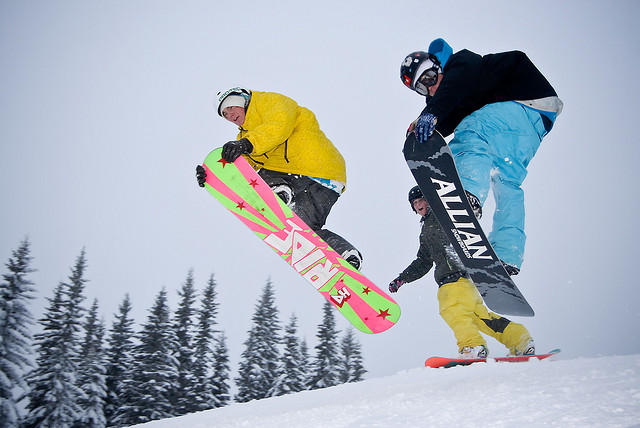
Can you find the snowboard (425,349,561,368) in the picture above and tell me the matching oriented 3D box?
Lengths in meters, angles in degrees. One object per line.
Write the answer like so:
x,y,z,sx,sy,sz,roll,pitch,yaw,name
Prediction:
5.074,4.376,20.748,3.779,0.525,0.356,-8,14,-4,snowboard
